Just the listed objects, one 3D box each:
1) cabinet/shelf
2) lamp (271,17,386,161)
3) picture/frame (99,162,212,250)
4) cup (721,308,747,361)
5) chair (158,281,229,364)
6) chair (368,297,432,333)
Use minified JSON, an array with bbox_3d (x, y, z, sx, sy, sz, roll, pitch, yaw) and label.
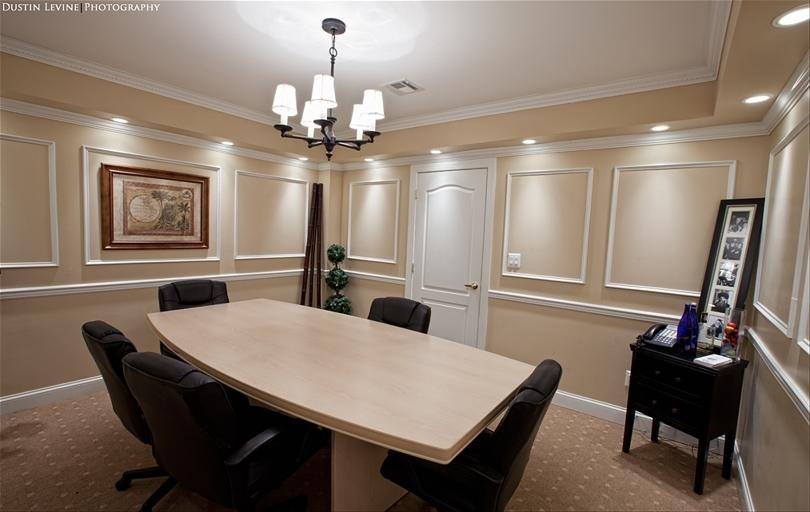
[{"bbox_3d":[2.533,1.394,4.458,0.566,1.050,0.816,-1,8,-32],"label":"cabinet/shelf"},{"bbox_3d":[-0.614,-1.504,4.640,1.274,1.239,1.121,-3,13,-28],"label":"lamp"},{"bbox_3d":[-2.841,-0.570,5.415,1.100,0.855,0.077,-2,8,-40],"label":"picture/frame"},{"bbox_3d":[2.856,0.667,4.217,0.211,0.398,0.126,-4,9,-36],"label":"cup"},{"bbox_3d":[-2.027,0.676,4.838,0.801,0.809,0.802,-5,3,-10],"label":"chair"},{"bbox_3d":[-0.031,0.541,4.676,0.413,0.413,0.449,2,14,25],"label":"chair"}]
